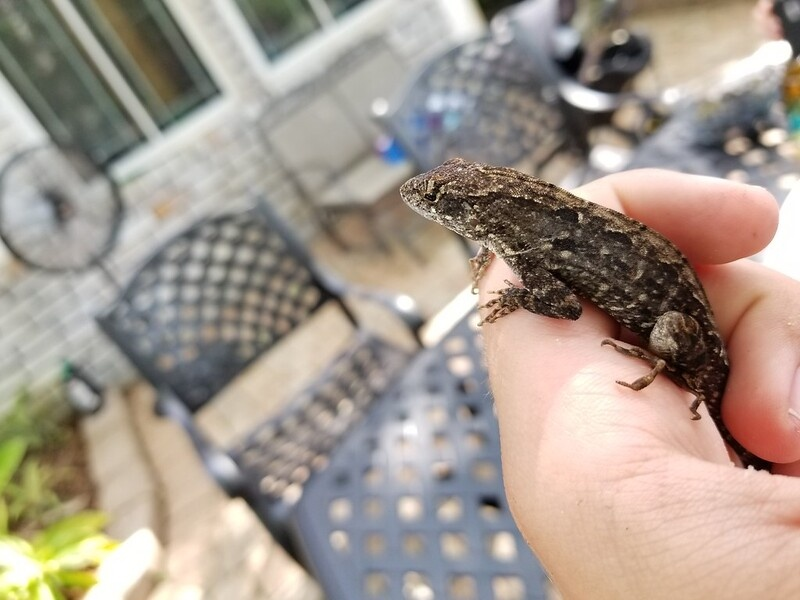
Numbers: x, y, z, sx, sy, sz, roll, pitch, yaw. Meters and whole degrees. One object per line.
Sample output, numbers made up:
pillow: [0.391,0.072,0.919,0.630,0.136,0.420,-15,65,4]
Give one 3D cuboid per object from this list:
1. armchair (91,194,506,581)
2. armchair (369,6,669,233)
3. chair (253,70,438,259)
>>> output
armchair: [-0.520,0.527,3.346,1.429,2.047,1.377,-36,29,-5]
armchair: [0.529,-1.152,3.936,1.141,1.617,1.063,40,103,49]
chair: [-0.326,-0.814,3.892,0.712,1.081,0.733,-37,53,2]
